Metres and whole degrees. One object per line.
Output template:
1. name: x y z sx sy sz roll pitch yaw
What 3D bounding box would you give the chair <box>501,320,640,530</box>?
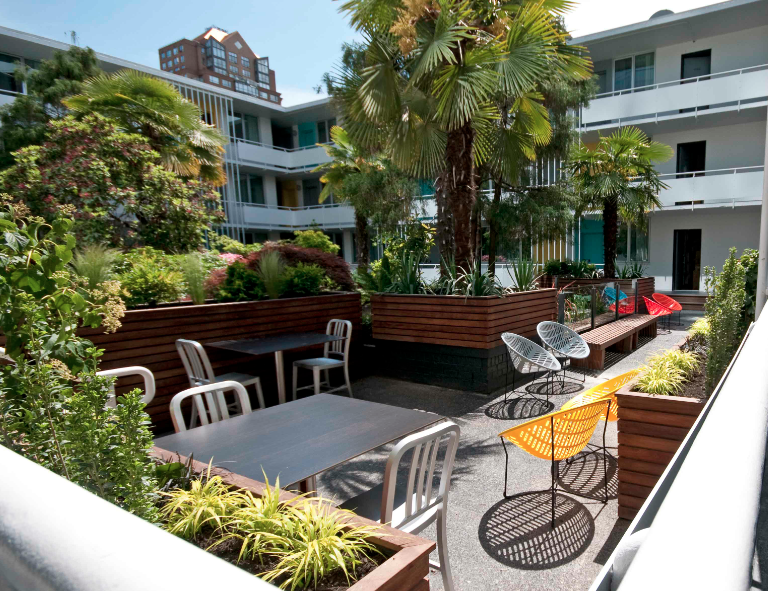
1. chair: 1.184 0.882 3.811 1.314 1.126 0.850 -10 15 -38

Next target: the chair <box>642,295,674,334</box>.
1. chair: 5.855 0.401 11.122 0.686 0.890 0.724 -6 5 33
